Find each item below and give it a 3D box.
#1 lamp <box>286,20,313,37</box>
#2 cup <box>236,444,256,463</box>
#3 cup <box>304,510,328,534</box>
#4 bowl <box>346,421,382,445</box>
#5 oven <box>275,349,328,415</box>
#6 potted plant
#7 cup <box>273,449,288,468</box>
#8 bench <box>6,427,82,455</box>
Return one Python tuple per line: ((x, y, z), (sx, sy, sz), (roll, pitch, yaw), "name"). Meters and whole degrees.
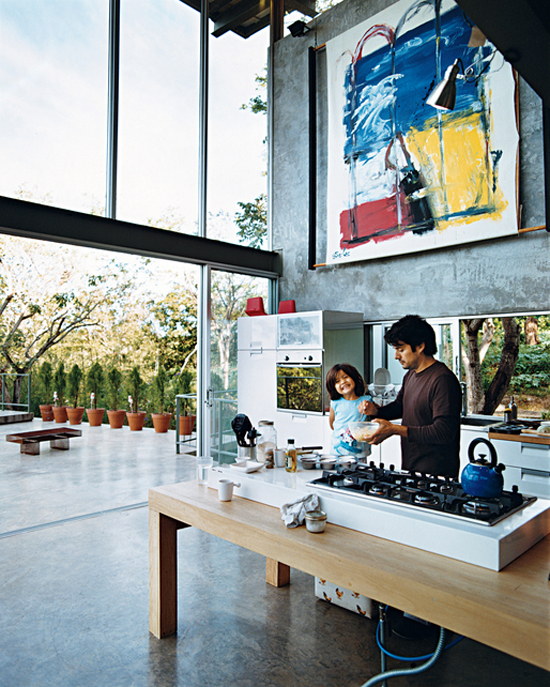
((0.238, -3.421, 5.900), (0.175, 0.187, 0.258), (0, 19, 45), "lamp")
((-0.154, 0.557, 2.644), (0.070, 0.076, 0.073), (1, -6, 0), "cup")
((0.141, 0.628, 1.864), (0.065, 0.046, 0.064), (0, -6, 0), "cup")
((0.375, 0.385, 2.284), (0.125, 0.094, 0.109), (0, -2, 7), "bowl")
((0.348, 0.389, 5.101), (0.411, 0.593, 0.603), (1, -2, -43), "oven")
((-3.543, 1.142, 11.493), (3.623, 1.410, 1.908), (-1, -2, 18), "potted plant")
((0.022, 0.563, 2.591), (0.064, 0.081, 0.081), (0, -9, -2), "cup")
((-3.466, 1.451, 7.839), (0.938, 0.328, 0.939), (2, -3, -44), "bench")
